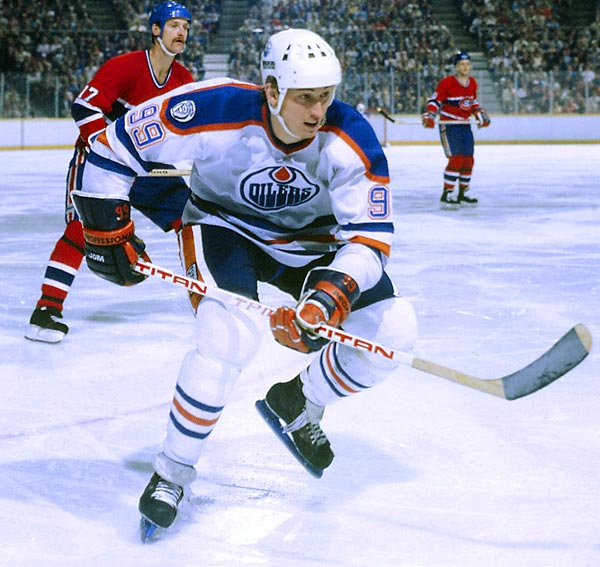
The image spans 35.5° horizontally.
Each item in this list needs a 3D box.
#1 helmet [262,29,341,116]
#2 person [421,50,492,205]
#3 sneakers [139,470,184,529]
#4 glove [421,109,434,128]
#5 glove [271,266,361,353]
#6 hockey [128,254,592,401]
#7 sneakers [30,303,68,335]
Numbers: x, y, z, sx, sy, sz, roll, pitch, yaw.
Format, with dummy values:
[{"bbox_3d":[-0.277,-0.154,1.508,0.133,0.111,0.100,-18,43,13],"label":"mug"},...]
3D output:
[{"bbox_3d":[-0.002,-0.541,2.411,0.186,0.208,0.188,2,15,-8],"label":"helmet"},{"bbox_3d":[1.351,-1.366,8.267,0.594,1.324,1.560,7,15,9],"label":"person"},{"bbox_3d":[-0.336,0.521,2.265,0.104,0.091,0.154,3,14,-5],"label":"sneakers"},{"bbox_3d":[1.152,-1.515,8.533,0.167,0.163,0.198,1,-4,2],"label":"glove"},{"bbox_3d":[0.037,0.065,2.348,0.160,0.249,0.109,35,-3,13],"label":"glove"},{"bbox_3d":[0.179,0.154,2.978,1.220,0.122,0.157,17,47,10],"label":"hockey"},{"bbox_3d":[-0.966,0.151,3.598,0.137,0.110,0.145,2,14,-9],"label":"sneakers"}]
